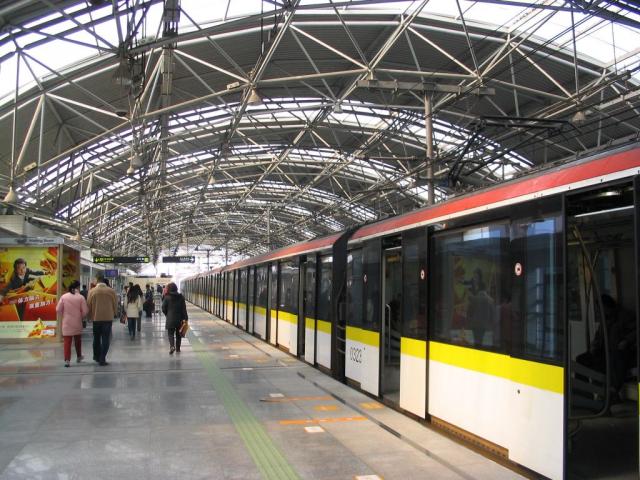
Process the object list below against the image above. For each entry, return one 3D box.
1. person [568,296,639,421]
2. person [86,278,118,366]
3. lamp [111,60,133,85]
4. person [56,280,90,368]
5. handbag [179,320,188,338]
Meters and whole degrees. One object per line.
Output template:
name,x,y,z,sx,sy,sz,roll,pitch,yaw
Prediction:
person,3.706,1.478,6.425,0.995,1.571,0.390,2,-4,-24
person,-5.906,2.199,13.505,0.727,2.345,1.352,2,-4,-22
lamp,-5.215,-4.444,13.217,0.464,0.676,0.469,2,-4,-11
person,-6.542,2.203,13.153,0.704,2.209,1.008,3,-4,-27
handbag,-4.211,2.749,15.423,0.208,0.539,0.387,14,-14,-3
